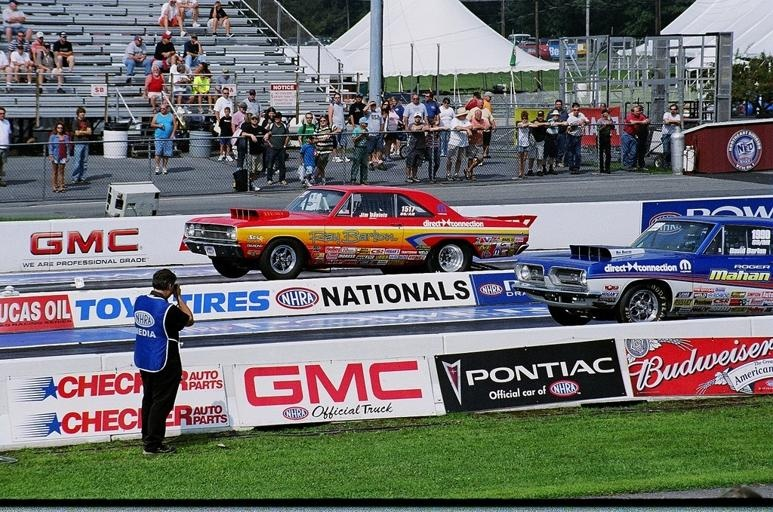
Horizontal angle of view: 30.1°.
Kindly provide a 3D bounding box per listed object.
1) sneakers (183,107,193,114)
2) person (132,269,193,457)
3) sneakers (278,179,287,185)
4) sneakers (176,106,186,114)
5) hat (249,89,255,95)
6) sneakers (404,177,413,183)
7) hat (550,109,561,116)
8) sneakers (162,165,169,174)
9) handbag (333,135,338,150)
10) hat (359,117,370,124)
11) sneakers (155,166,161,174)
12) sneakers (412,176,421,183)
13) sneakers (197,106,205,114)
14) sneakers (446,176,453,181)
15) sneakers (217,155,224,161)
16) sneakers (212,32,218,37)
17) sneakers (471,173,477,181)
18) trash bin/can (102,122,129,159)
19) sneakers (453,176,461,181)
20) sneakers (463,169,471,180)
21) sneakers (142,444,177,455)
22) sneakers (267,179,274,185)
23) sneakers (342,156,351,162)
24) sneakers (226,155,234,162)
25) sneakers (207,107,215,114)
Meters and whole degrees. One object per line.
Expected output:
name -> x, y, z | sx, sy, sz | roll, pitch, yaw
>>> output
sneakers -> -6.075, -4.444, 43.909 | 0.356, 0.236, 0.124 | -5, 16, -17
person -> -3.911, 1.819, 25.038 | 0.891, 3.124, 0.715 | -2, 9, -14
sneakers -> -2.838, -2.077, 40.332 | 0.162, 0.112, 0.281 | 8, 12, 40
sneakers -> -6.187, -4.428, 43.713 | 0.328, 0.220, 0.255 | -5, 10, -31
hat -> -3.903, -4.797, 42.175 | 0.252, 0.119, 0.375 | 9, 3, -9
sneakers -> 0.687, -2.145, 40.495 | 0.228, 0.160, 0.184 | 2, 9, 9
hat -> 4.899, -4.117, 41.399 | 0.373, 0.105, 0.373 | 0, -2, 23
sneakers -> -6.174, -2.397, 40.266 | 0.145, 0.190, 0.344 | -1, 9, -8
handbag -> -1.394, -3.232, 40.928 | 0.124, 0.376, 0.328 | 2, 9, 9
hat -> -0.594, -3.851, 40.878 | 0.354, 0.157, 0.497 | 3, 2, -5
sneakers -> -6.347, -2.402, 40.151 | 0.160, 0.219, 0.231 | -2, 9, -14
sneakers -> 0.885, -2.163, 40.705 | 0.205, 0.177, 0.572 | 1, 9, 6
sneakers -> -5.687, -4.475, 44.134 | 0.187, 0.162, 0.303 | -5, 52, -17
sneakers -> 1.844, -2.230, 40.869 | 0.204, 0.148, 0.145 | -3, 9, -19
sneakers -> -4.761, -2.814, 41.474 | 0.184, 0.123, 0.072 | -4, -15, 37
sneakers -> -5.866, -7.589, 49.393 | 0.130, 0.219, 0.331 | -3, 12, -13
sneakers -> 2.545, -2.262, 41.214 | 0.171, 0.141, 0.507 | 2, 9, 9
trash bin/can -> -8.040, -3.357, 41.558 | 1.113, 1.157, 1.089 | 1, 1, -7
sneakers -> 2.091, -2.255, 41.093 | 0.222, 0.148, 0.550 | 1, 9, 8
sneakers -> 2.339, -2.335, 41.021 | 0.233, 0.297, 0.216 | 5, 10, 26
sneakers -> -3.926, 3.323, 24.947 | 0.564, 0.236, 0.204 | -1, 2, -8
sneakers -> -3.232, -2.089, 40.145 | 0.111, 0.116, 0.183 | -1, -5, -5
sneakers -> -1.101, -2.756, 40.803 | 0.193, 0.187, 0.529 | 1, 9, 6
sneakers -> -4.475, -2.799, 41.376 | 0.194, 0.133, 0.328 | -1, 9, -6
sneakers -> -5.338, -4.450, 44.024 | 0.245, 0.102, 0.346 | 0, 10, -3
